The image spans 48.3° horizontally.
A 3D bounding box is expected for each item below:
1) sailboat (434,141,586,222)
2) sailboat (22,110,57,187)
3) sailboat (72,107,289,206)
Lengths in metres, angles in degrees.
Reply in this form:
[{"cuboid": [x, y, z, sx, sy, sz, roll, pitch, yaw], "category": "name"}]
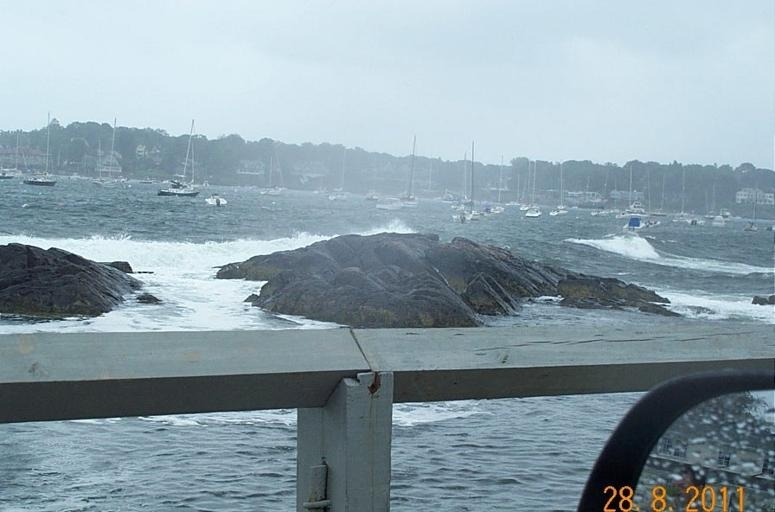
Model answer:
[{"cuboid": [13.248, -8.366, 95.955, 12.202, 8.500, 2.449, 0, 1, -19], "category": "sailboat"}, {"cuboid": [-32.947, -10.182, 81.863, 2.678, 6.458, 7.625, -3, 10, -22], "category": "sailboat"}, {"cuboid": [-18.256, -10.551, 95.392, 13.717, 9.005, 27.235, 9, 13, 38], "category": "sailboat"}]
